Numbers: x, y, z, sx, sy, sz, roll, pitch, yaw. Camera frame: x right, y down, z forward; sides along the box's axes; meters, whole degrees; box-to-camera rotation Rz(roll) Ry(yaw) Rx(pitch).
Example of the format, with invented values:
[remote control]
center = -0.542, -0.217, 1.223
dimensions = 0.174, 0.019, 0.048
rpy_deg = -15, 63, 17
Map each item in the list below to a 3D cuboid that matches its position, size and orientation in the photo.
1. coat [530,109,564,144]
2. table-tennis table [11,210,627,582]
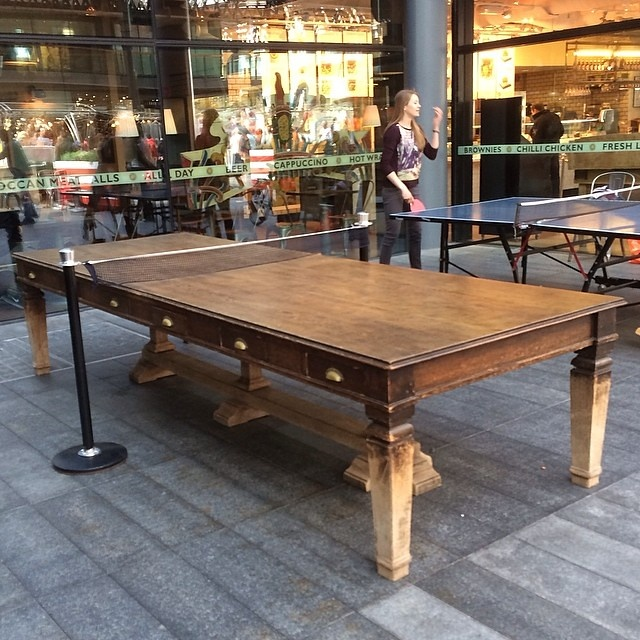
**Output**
[coat]
center = 2.981, -2.537, 7.735
dimensions = 0.578, 0.413, 0.263
rpy_deg = -9, 26, 3
[table-tennis table]
center = -0.439, 0.076, 3.435
dimensions = 1.479, 1.090, 3.741
rpy_deg = -13, 15, -40
